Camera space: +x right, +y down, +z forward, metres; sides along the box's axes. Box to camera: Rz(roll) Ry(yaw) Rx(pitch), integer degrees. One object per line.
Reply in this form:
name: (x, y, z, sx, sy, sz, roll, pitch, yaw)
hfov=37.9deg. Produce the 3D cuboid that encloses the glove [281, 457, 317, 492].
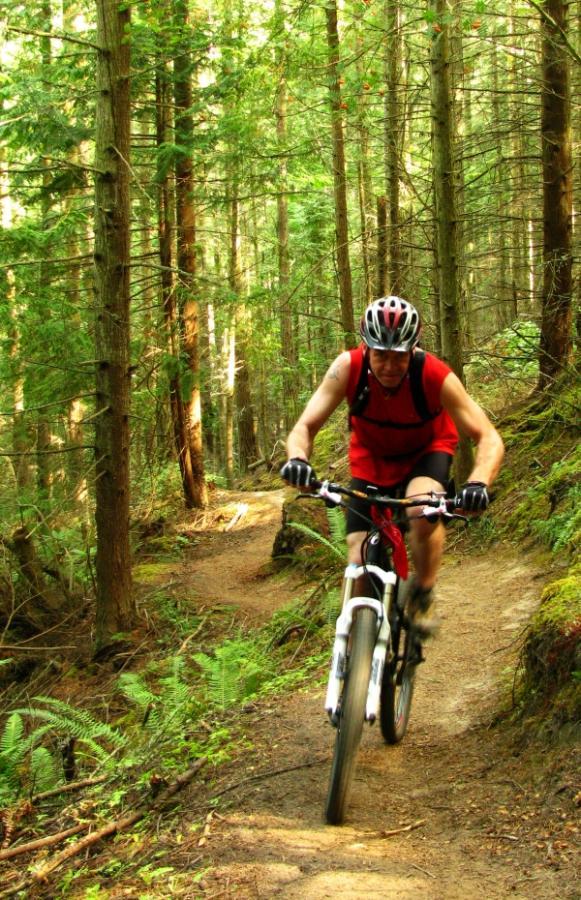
glove: (0.049, 0.110, 3.980, 0.125, 0.118, 0.159, 23, 20, 4)

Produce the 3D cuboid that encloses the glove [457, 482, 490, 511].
glove: (0.821, 0.220, 3.799, 0.149, 0.103, 0.168, -8, 3, 11)

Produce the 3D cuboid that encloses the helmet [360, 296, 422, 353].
helmet: (0.513, -0.639, 4.239, 0.324, 0.219, 0.428, 4, 12, 0)

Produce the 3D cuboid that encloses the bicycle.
bicycle: (0.516, 0.847, 4.307, 0.891, 1.388, 1.057, -9, 3, 10)
